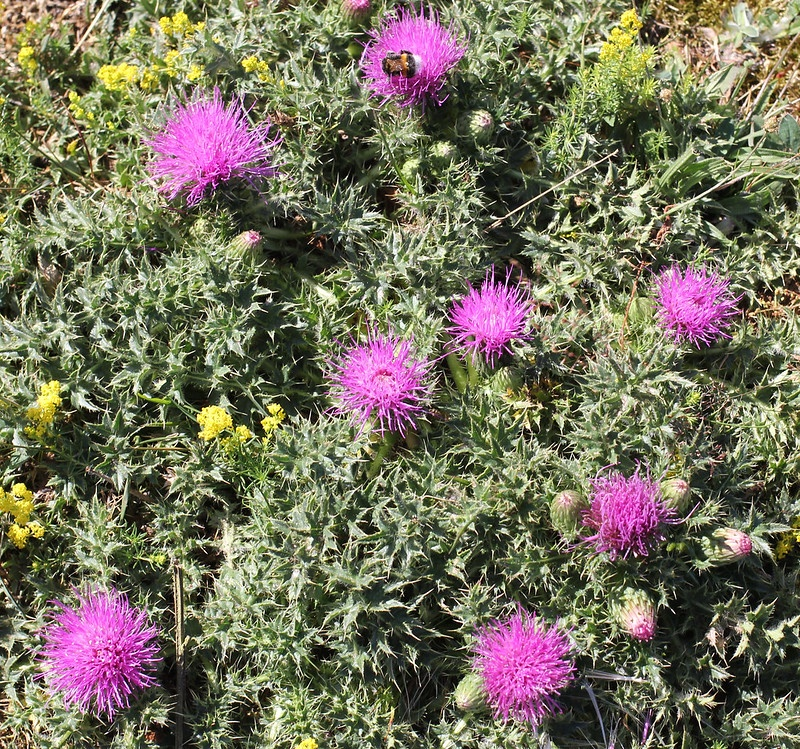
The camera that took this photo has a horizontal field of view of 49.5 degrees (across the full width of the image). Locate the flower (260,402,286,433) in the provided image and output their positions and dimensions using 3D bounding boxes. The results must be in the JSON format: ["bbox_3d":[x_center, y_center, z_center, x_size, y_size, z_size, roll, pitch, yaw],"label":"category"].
[{"bbox_3d":[-0.622,0.220,4.270,0.111,0.190,0.163,3,78,-3],"label":"flower"}]

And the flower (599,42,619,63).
[{"bbox_3d":[1.162,-1.774,4.780,0.084,0.105,0.104,2,17,14],"label":"flower"}]

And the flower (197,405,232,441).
[{"bbox_3d":[-0.872,0.241,4.156,0.153,0.085,0.170,-18,45,39],"label":"flower"}]
